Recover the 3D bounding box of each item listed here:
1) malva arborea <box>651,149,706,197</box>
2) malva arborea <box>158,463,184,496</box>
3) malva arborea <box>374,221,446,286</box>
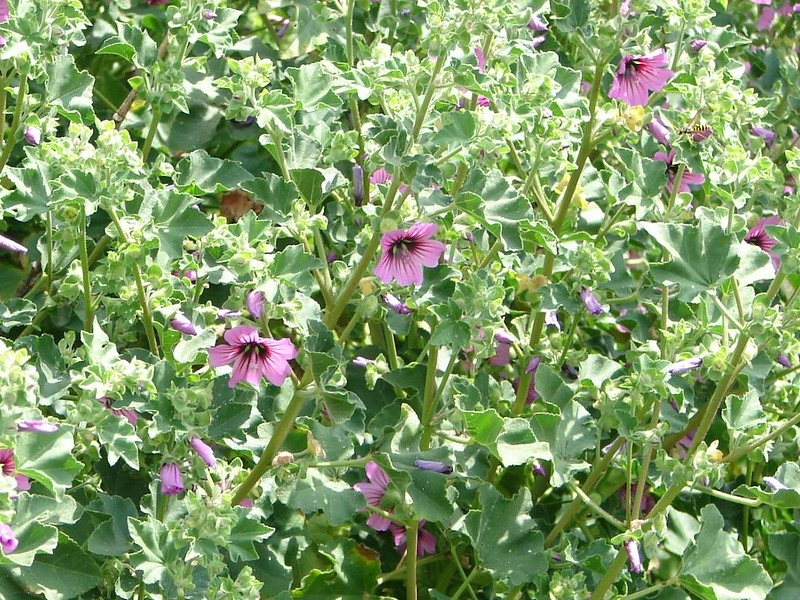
[{"bbox_3d":[0.658,-0.310,2.291,0.133,0.155,0.051,-5,14,15],"label":"malva arborea"},{"bbox_3d":[-0.465,0.356,1.951,0.037,0.036,0.071,-31,47,17],"label":"malva arborea"},{"bbox_3d":[0.019,-0.093,1.933,0.136,0.122,0.083,6,40,3],"label":"malva arborea"}]
